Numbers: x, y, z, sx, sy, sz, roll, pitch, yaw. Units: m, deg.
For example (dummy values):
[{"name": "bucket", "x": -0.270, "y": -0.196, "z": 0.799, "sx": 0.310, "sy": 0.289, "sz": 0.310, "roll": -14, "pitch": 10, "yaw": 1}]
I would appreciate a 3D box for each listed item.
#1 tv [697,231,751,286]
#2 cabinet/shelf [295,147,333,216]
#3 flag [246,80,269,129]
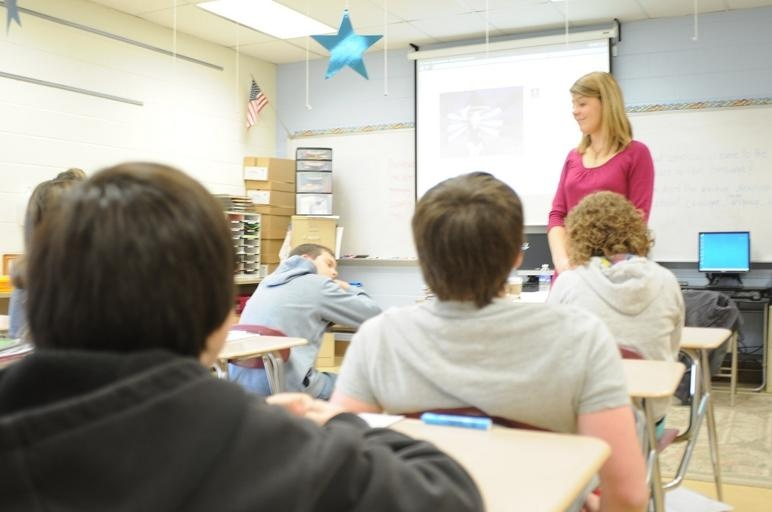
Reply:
[{"name": "tv", "x": 3.214, "y": 0.021, "z": 5.155, "sx": 0.553, "sy": 0.562, "sz": 0.214, "roll": 0, "pitch": -3, "yaw": 27}, {"name": "cabinet/shelf", "x": -0.966, "y": -0.925, "z": 6.753, "sx": 0.578, "sy": 0.806, "sz": 0.560, "roll": 0, "pitch": 9, "yaw": -11}, {"name": "flag", "x": -1.665, "y": -1.964, "z": 6.970, "sx": 0.239, "sy": 0.659, "sz": 0.383, "roll": 0, "pitch": 3, "yaw": -18}]
